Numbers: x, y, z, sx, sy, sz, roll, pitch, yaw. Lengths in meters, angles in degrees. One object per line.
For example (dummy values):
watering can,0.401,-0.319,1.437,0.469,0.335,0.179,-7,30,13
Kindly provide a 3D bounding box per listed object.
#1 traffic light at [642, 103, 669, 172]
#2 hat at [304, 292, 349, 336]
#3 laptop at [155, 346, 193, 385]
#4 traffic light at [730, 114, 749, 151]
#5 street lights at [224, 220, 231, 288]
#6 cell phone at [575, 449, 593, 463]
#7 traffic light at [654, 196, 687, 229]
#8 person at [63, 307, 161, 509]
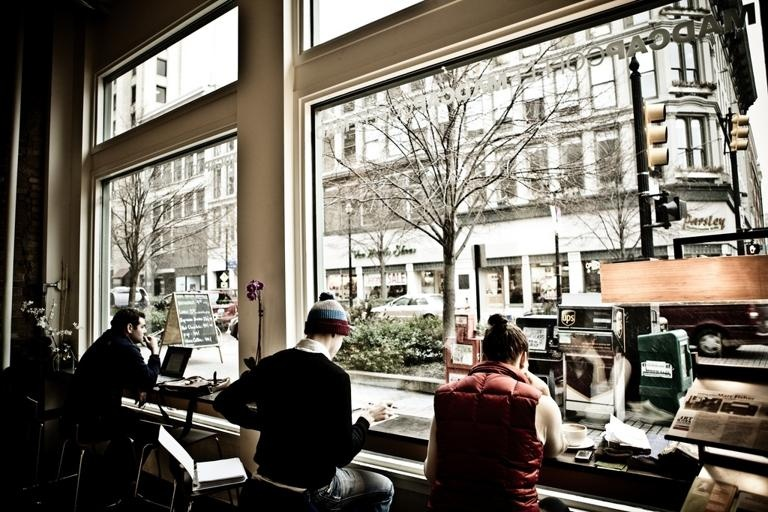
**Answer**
traffic light,1.816,-0.817,4.044,0.138,0.462,0.311,-3,-6,24
hat,-0.366,0.368,3.979,0.245,0.237,0.246,0,-1,12
laptop,-1.932,0.995,5.600,0.305,0.187,0.269,-1,-13,25
traffic light,2.219,-0.771,3.766,0.093,0.227,0.203,-3,-6,21
street lights,-1.368,0.009,5.317,0.037,0.535,0.156,1,-5,-17
cell phone,1.214,1.210,3.672,0.140,0.055,0.082,0,-5,-6
traffic light,1.910,-0.294,4.027,0.242,0.206,0.167,-1,-5,1
person,-2.295,1.293,5.155,0.683,1.695,1.263,2,-6,-27
